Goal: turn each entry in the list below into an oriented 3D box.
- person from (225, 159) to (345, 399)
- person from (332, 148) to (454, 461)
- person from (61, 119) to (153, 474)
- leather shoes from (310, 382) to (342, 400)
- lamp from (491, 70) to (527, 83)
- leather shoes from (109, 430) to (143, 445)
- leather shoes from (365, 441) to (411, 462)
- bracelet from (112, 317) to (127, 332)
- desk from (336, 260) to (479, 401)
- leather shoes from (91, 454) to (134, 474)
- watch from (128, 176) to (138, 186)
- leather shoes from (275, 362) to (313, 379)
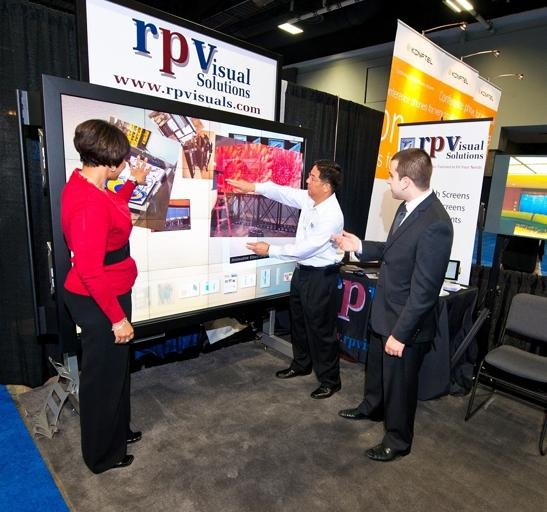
[{"bbox_3d":[0.070,0.190,3.060,0.877,1.705,0.548,9,20,23],"label":"person"},{"bbox_3d":[0.712,0.279,2.402,0.372,1.740,0.584,-1,13,-16],"label":"person"},{"bbox_3d":[-0.858,0.264,2.080,0.338,1.808,0.492,-2,13,-19],"label":"person"},{"bbox_3d":[0.378,0.964,2.974,0.219,0.100,0.080,4,-4,-35],"label":"leather shoes"},{"bbox_3d":[3.171,-2.456,5.645,0.321,0.116,0.382,-10,19,-43],"label":"lamp"},{"bbox_3d":[-0.850,1.072,2.430,0.115,0.052,0.041,14,-10,-42],"label":"leather shoes"},{"bbox_3d":[0.673,1.131,2.432,0.258,0.116,0.104,0,1,-2],"label":"leather shoes"},{"bbox_3d":[-0.718,0.323,1.927,0.058,0.020,0.047,-37,14,-27],"label":"bracelet"},{"bbox_3d":[0.935,0.517,3.129,0.827,0.922,1.237,-4,10,-40],"label":"desk"},{"bbox_3d":[-0.867,1.108,2.260,0.216,0.099,0.066,6,-1,-40],"label":"leather shoes"},{"bbox_3d":[-0.773,-0.411,2.285,0.044,0.015,0.035,41,24,6],"label":"watch"},{"bbox_3d":[0.161,0.900,3.282,0.290,0.133,0.112,3,-3,-15],"label":"leather shoes"}]
